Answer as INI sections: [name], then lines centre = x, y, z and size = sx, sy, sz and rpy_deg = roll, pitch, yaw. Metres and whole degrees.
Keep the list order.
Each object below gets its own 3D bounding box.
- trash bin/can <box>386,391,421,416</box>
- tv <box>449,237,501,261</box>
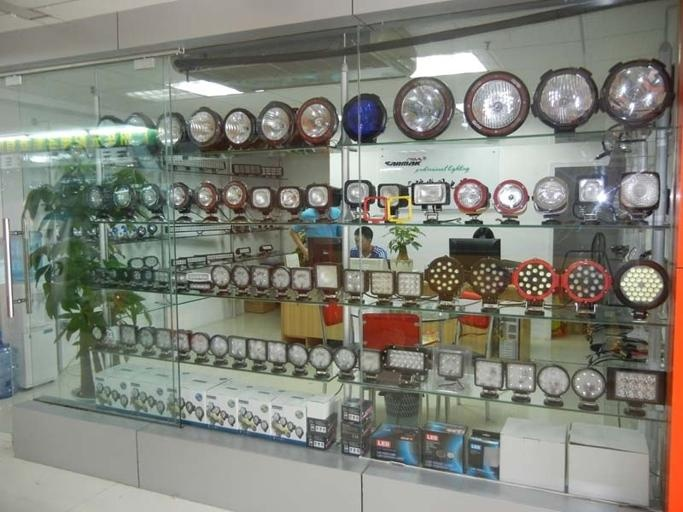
[trash bin/can]
centre = 0.452, 1.036, 4.160
size = 0.207, 0.212, 0.216
rpy_deg = 2, -6, -10
[tv]
centre = 0.879, -0.057, 3.739
size = 0.329, 0.138, 0.085
rpy_deg = -1, 4, 15
